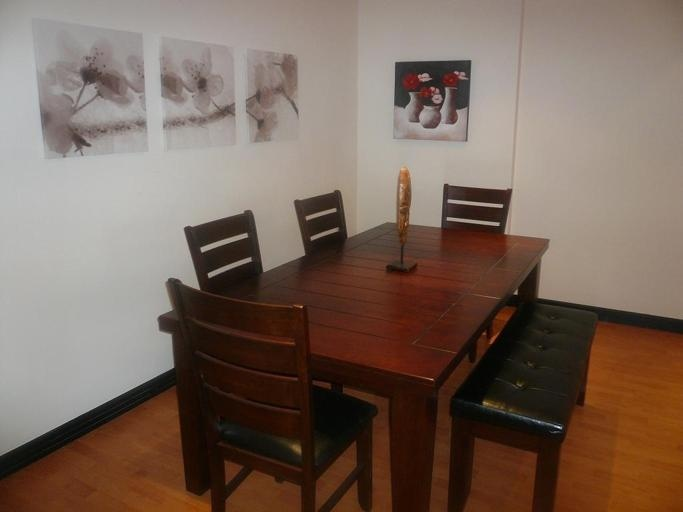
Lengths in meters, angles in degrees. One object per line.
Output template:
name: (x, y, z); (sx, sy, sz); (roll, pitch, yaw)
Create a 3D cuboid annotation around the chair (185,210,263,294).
chair: (-0.656, -0.014, 2.802); (0.303, 0.544, 0.289); (19, 30, 39)
